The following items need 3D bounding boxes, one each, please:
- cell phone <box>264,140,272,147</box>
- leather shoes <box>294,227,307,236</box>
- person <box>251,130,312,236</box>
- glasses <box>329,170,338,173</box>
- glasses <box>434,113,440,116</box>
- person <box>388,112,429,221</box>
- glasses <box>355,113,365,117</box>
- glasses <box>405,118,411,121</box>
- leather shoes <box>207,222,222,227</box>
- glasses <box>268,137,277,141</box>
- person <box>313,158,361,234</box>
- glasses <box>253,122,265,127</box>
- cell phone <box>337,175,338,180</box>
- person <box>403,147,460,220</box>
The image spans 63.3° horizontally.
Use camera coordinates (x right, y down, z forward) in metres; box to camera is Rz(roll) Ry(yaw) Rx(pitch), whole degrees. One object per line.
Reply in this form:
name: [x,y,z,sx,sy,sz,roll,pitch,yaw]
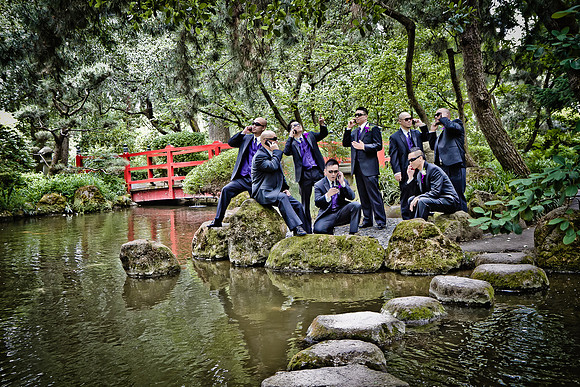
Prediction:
cell phone: [-0.396,-0.915,8.673,0.127,0.108,0.034,3,14,25]
leather shoes: [0.183,0.683,8.481,0.120,0.109,0.243,-4,-5,-27]
person: [-0.238,-0.220,8.722,0.562,1.853,1.133,-12,15,-36]
glasses: [0.792,-0.401,8.612,0.168,0.051,0.043,-1,12,9]
glasses: [2.727,-1.443,8.675,0.084,0.069,0.163,3,13,26]
person: [2.470,-0.519,9.391,0.898,2.170,0.596,-6,-1,8]
glasses: [1.348,-1.520,9.169,0.157,0.067,0.101,3,13,25]
glasses: [2.338,-1.457,9.309,0.086,0.027,0.086,-1,-15,1]
leather shoes: [-1.505,0.621,9.446,0.317,0.130,0.105,2,-1,2]
glasses: [-0.303,-1.008,8.705,0.068,0.079,0.185,3,13,27]
person: [0.854,0.101,8.726,0.898,1.466,0.693,-1,12,10]
glasses: [-0.602,-1.328,9.090,0.228,0.085,0.197,-2,12,3]
cell phone: [0.882,-0.296,8.619,0.052,0.090,0.069,-1,7,3]
person: [2.557,-0.110,8.624,0.993,1.435,0.829,3,14,27]
